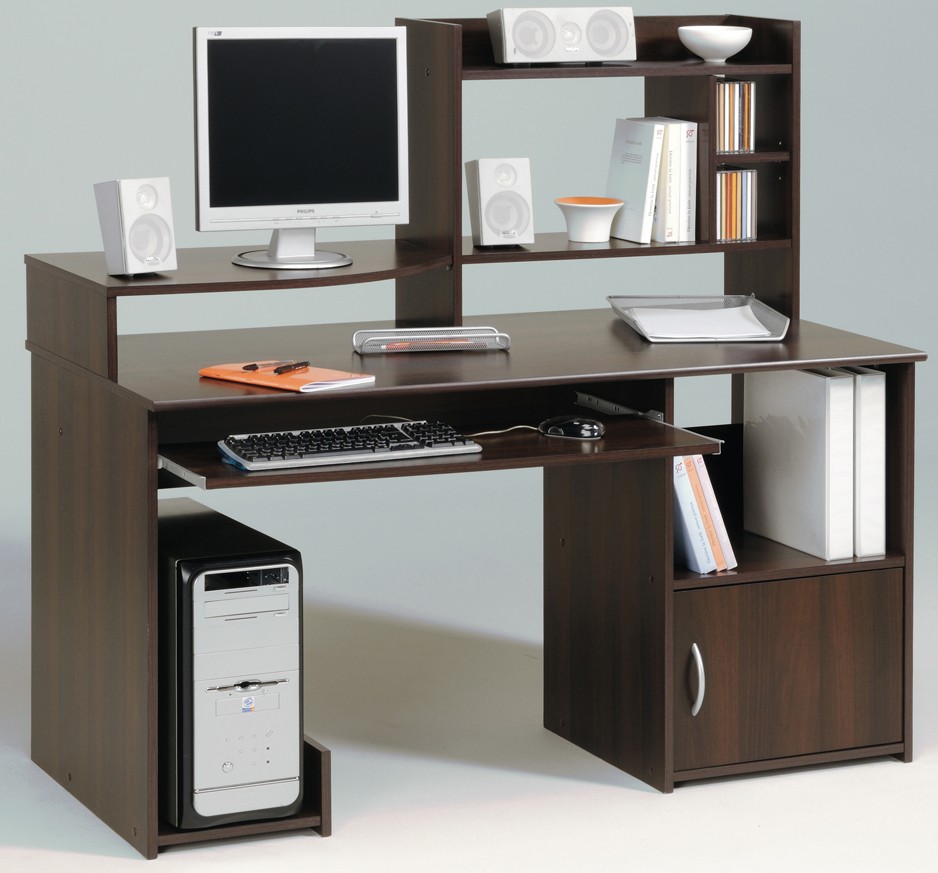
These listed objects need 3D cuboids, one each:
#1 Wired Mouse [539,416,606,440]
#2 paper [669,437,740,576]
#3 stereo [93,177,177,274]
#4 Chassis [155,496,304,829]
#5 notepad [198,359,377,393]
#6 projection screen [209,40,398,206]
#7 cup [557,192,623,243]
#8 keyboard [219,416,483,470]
[{"bbox_3d":[0.198,-0.020,2.006,0.107,0.032,0.150,-3,9,-29],"label":"Wired Mouse"},{"bbox_3d":[0.494,0.157,2.218,0.211,0.251,0.081,-2,8,-23],"label":"paper"},{"bbox_3d":[-0.654,-0.412,2.066,0.148,0.196,0.142,-2,8,-19],"label":"stereo"},{"bbox_3d":[-0.536,0.499,2.159,0.243,0.481,0.680,3,-12,-27],"label":"Chassis"},{"bbox_3d":[-0.332,-0.115,1.954,0.304,0.045,0.216,7,9,37],"label":"notepad"},{"bbox_3d":[-0.372,-0.681,2.258,0.405,0.289,0.030,-5,15,-23],"label":"projection screen"},{"bbox_3d":[0.313,-0.550,2.699,0.160,0.082,0.134,-1,11,-4],"label":"cup"},{"bbox_3d":[-0.205,0.013,1.795,0.407,0.047,0.213,-3,8,-28],"label":"keyboard"}]
